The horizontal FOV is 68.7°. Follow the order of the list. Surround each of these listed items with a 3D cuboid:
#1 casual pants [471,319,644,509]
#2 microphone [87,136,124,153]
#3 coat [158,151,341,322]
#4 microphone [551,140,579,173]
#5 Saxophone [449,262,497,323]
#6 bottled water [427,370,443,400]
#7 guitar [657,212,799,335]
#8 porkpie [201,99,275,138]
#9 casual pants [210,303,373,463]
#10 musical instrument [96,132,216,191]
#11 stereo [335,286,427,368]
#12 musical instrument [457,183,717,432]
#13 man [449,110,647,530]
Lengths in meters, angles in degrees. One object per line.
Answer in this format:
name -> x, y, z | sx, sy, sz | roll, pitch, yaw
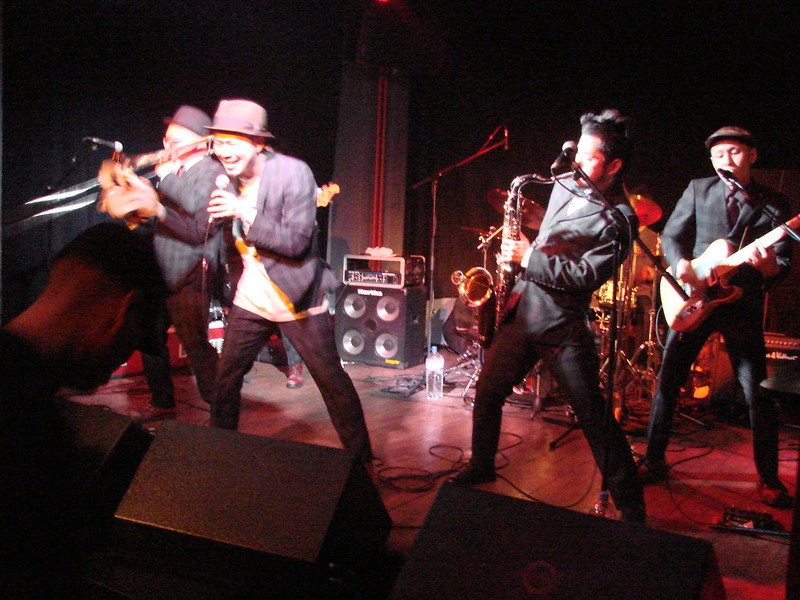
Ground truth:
casual pants -> 0.859, 0.647, 3.200 | 1.038, 0.995, 0.433 | -2, -6, 45
microphone -> -1.843, -0.967, 3.643 | 0.361, 0.074, 0.098 | 23, 27, 31
coat -> -0.776, -0.319, 3.099 | 0.787, 0.619, 0.447 | 3, -4, 32
microphone -> 0.754, -0.643, 2.665 | 0.095, 0.167, 0.224 | 4, -3, 19
Saxophone -> 0.547, -0.104, 4.437 | 0.398, 0.298, 0.119 | 34, 23, 15
bottled water -> 0.292, 0.698, 4.818 | 0.155, 0.229, 0.194 | 5, -3, 3
guitar -> 1.775, -0.145, 3.176 | 0.143, 0.322, 0.880 | 2, -27, -35
porkpie -> -0.773, -0.878, 2.887 | 0.218, 0.096, 0.250 | 13, 8, 19
casual pants -> -0.689, 0.518, 3.530 | 0.968, 0.931, 0.298 | 3, 8, 10
musical instrument -> -1.379, -0.779, 3.315 | 0.646, 0.208, 0.238 | -28, 6, 10
stereo -> -0.181, 0.254, 5.656 | 0.809, 0.697, 0.450 | 4, 8, 21
musical instrument -> 0.846, 0.151, 2.975 | 0.821, 1.432, 0.552 | 7, 11, 14
man -> 0.765, 0.088, 2.866 | 0.797, 1.896, 0.543 | 3, -4, 38
